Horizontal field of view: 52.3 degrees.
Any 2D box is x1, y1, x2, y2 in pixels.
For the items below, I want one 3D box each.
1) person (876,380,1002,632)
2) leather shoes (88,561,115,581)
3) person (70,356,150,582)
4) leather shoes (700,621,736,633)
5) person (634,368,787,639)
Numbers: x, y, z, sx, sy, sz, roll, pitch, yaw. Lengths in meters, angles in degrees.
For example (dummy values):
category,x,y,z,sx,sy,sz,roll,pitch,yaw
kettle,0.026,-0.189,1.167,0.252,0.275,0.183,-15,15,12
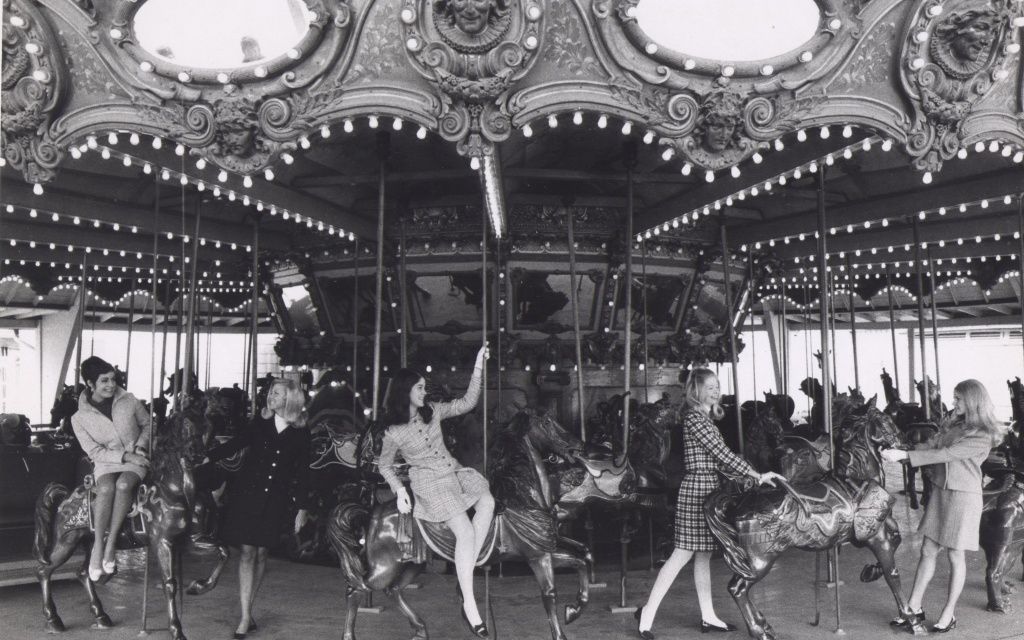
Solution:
category,x,y,z,sx,sy,sz,roll,pitch,yaw
person,4.364,1.834,10.427,0.981,2.488,0.388,2,-3,-2
leather shoes,-4.103,2.491,10.460,0.279,0.173,0.116,-9,10,7
person,-4.064,1.500,10.496,0.739,2.245,0.470,3,-4,-24
leather shoes,2.052,3.041,10.373,0.325,0.125,0.133,-4,-4,2
person,1.878,1.807,10.455,1.188,2.665,1.113,3,-4,-24
